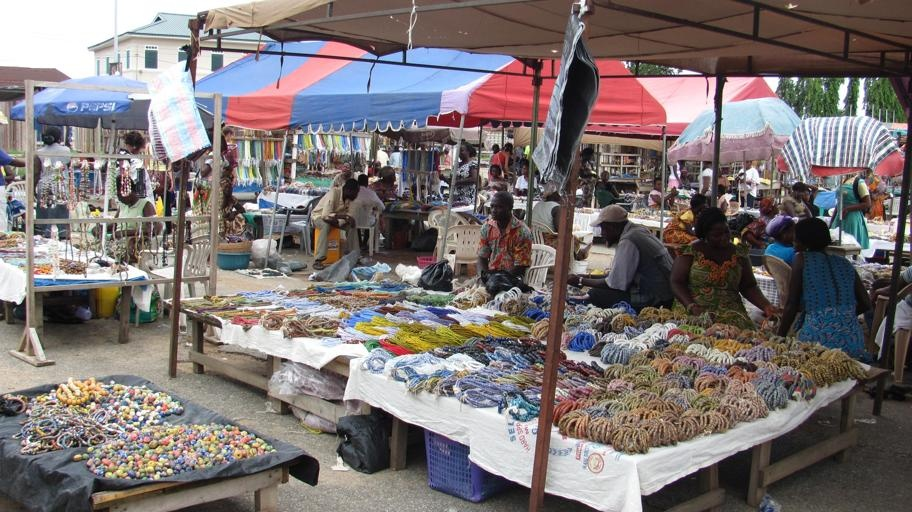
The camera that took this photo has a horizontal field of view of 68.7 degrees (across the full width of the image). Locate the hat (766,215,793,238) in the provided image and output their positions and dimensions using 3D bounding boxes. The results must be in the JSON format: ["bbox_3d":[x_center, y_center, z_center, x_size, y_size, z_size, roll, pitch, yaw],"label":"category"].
[{"bbox_3d":[5.099,-0.457,10.590,0.406,0.223,0.321,-40,-1,11],"label":"hat"}]

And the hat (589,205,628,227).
[{"bbox_3d":[2.008,-0.543,8.821,0.528,0.256,0.330,-2,8,8],"label":"hat"}]

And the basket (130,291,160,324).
[{"bbox_3d":[-4.746,0.820,10.317,0.510,0.457,0.482,9,-12,-7],"label":"basket"}]

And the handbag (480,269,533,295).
[{"bbox_3d":[0.676,0.361,9.223,0.437,0.177,0.425,-5,12,-43],"label":"handbag"}]

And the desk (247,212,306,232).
[{"bbox_3d":[-4.208,-0.773,15.494,0.817,0.358,0.837,-6,9,-41],"label":"desk"}]

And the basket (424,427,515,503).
[{"bbox_3d":[0.164,2.063,6.556,0.544,0.482,0.788,-6,-11,43],"label":"basket"}]

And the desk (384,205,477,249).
[{"bbox_3d":[-1.108,-0.769,16.181,1.735,0.743,1.283,3,1,19],"label":"desk"}]

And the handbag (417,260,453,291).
[{"bbox_3d":[-0.288,0.301,10.358,0.577,0.520,0.391,11,4,11],"label":"handbag"}]
